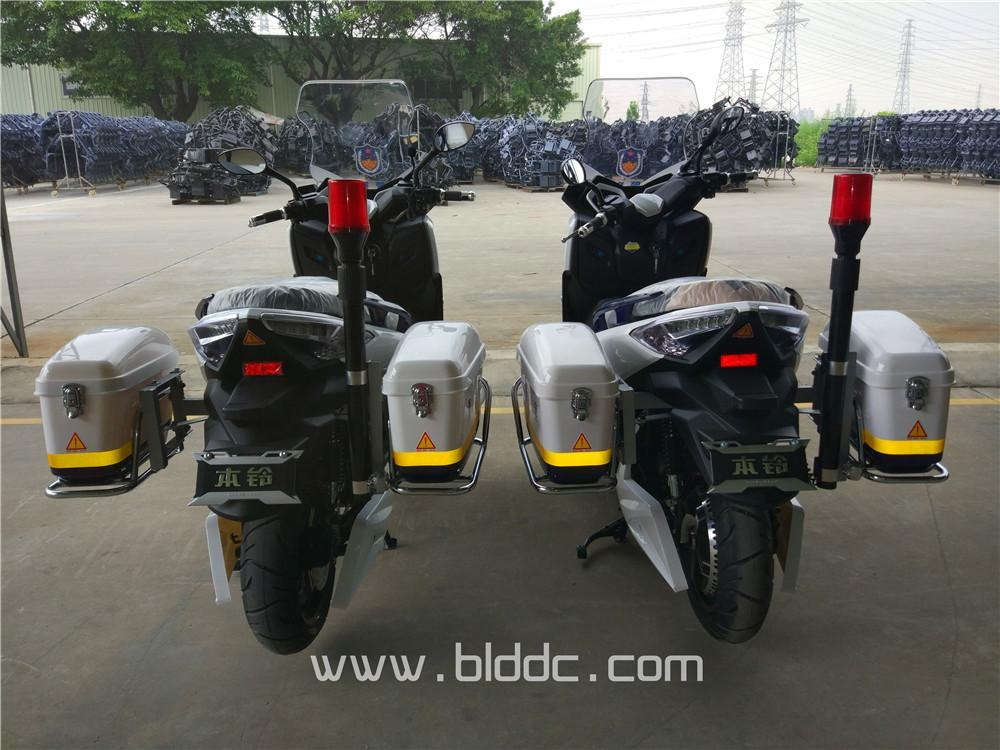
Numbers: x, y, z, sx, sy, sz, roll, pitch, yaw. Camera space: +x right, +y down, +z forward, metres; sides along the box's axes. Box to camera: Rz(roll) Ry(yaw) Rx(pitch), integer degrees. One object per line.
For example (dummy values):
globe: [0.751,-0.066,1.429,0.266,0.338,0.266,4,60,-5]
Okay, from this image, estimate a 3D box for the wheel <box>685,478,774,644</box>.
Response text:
wheel: [0.890,0.747,3.086,0.341,0.585,0.268,3,19,14]

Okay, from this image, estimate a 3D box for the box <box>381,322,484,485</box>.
box: [-0.273,0.054,3.499,0.399,0.599,0.953,-1,13,2]

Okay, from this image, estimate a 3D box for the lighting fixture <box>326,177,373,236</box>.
lighting fixture: [-0.534,-0.625,2.890,0.181,0.194,0.179,0,9,2]

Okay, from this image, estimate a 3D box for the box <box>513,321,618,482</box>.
box: [0.304,0.150,3.468,0.363,0.551,0.770,0,5,-5]

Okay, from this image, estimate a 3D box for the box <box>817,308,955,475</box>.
box: [1.599,0.095,3.535,0.444,0.656,0.759,-9,11,-21]

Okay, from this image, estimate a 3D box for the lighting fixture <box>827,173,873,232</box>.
lighting fixture: [1.296,-0.641,2.895,0.138,0.194,0.115,5,19,21]

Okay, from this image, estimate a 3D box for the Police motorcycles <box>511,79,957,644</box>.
Police motorcycles: [0.922,-0.410,4.230,1.874,2.189,3.067,-2,15,-1]

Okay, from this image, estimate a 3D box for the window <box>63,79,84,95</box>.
window: [-18.231,-12.294,33.546,1.041,0.971,0.274,19,25,39]

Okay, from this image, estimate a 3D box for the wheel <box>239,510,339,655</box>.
wheel: [-0.816,0.783,3.023,0.185,0.463,0.524,-6,61,17]

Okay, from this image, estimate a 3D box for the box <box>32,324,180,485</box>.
box: [-1.716,0.103,3.462,0.453,0.554,0.753,0,10,0]
